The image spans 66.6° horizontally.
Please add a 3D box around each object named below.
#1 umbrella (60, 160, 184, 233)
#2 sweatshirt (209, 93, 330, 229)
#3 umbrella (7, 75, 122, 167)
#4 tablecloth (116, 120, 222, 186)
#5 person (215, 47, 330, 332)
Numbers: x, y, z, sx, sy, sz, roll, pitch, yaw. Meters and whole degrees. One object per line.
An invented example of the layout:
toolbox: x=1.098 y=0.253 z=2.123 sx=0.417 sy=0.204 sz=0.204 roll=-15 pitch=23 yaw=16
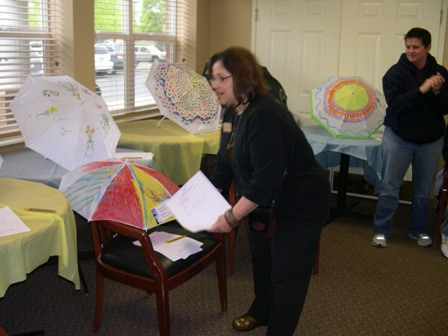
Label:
umbrella: x=-0.584 y=0.133 z=1.877 sx=0.604 sy=0.344 sz=0.356 roll=11 pitch=20 yaw=21
sweatshirt: x=0.206 y=-0.063 z=1.656 sx=0.410 sy=0.586 sz=0.570 roll=-10 pitch=13 yaw=-12
umbrella: x=-1.056 y=-0.286 z=2.266 sx=0.239 sy=0.747 sz=0.706 roll=-22 pitch=0 yaw=40
tablecloth: x=-0.405 y=-0.179 z=3.021 sx=0.688 sy=0.203 sz=0.733 roll=-13 pitch=36 yaw=-27
person: x=0.191 y=0.144 z=1.562 sx=0.530 sy=1.303 sz=0.390 roll=8 pitch=18 yaw=19
